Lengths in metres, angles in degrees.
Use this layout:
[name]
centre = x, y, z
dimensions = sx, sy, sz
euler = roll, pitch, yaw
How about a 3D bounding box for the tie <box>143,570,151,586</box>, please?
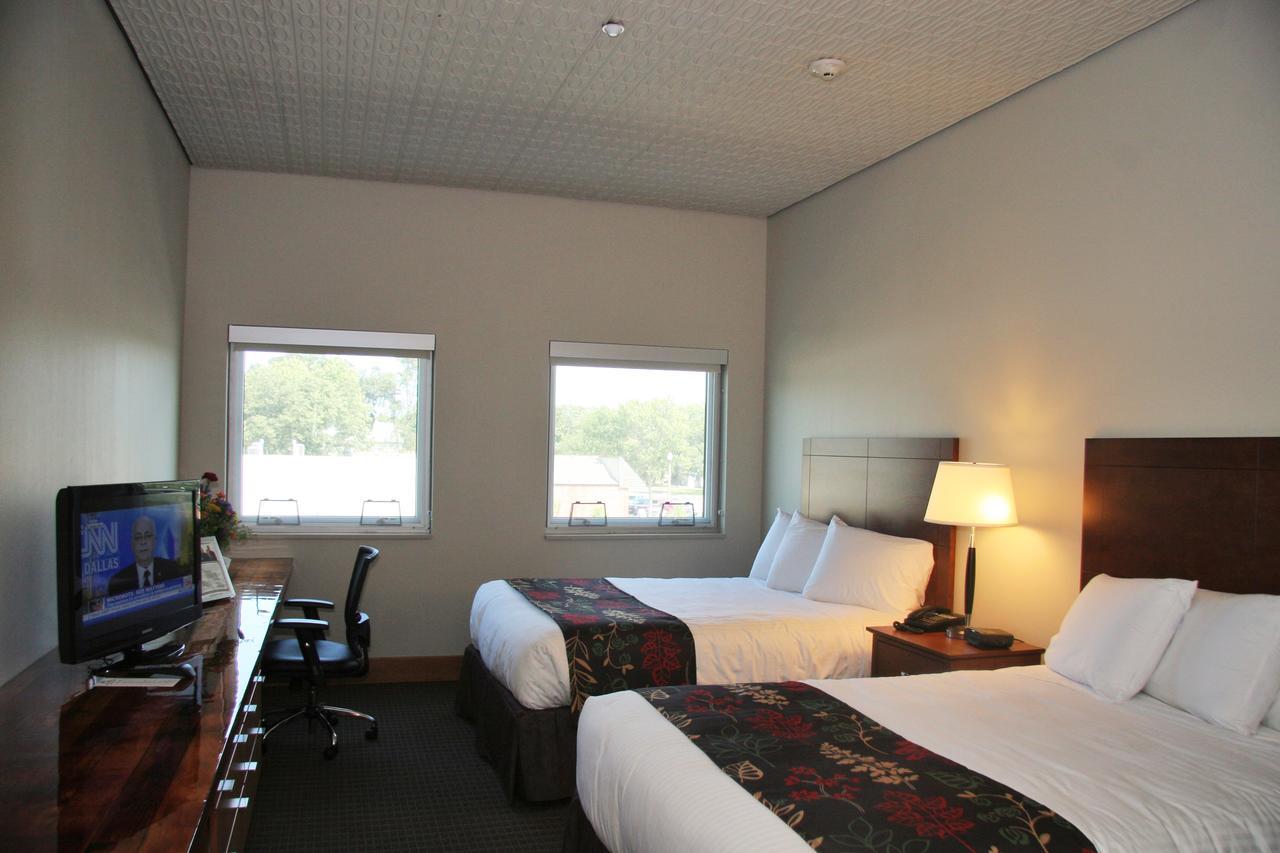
[tie]
centre = -2.077, 0.637, 3.634
dimensions = 0.014, 0.049, 0.048
euler = 3, 10, 3
